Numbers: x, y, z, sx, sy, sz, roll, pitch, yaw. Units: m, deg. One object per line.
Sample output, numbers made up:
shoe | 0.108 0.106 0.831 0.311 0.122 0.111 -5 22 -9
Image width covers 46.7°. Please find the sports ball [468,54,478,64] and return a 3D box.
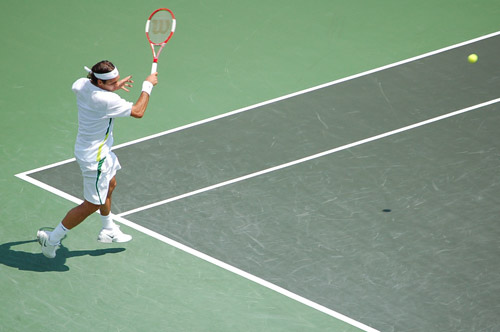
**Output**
sports ball | 4.230 -2.037 11.005 0.147 0.160 0.142 -27 -8 -4
